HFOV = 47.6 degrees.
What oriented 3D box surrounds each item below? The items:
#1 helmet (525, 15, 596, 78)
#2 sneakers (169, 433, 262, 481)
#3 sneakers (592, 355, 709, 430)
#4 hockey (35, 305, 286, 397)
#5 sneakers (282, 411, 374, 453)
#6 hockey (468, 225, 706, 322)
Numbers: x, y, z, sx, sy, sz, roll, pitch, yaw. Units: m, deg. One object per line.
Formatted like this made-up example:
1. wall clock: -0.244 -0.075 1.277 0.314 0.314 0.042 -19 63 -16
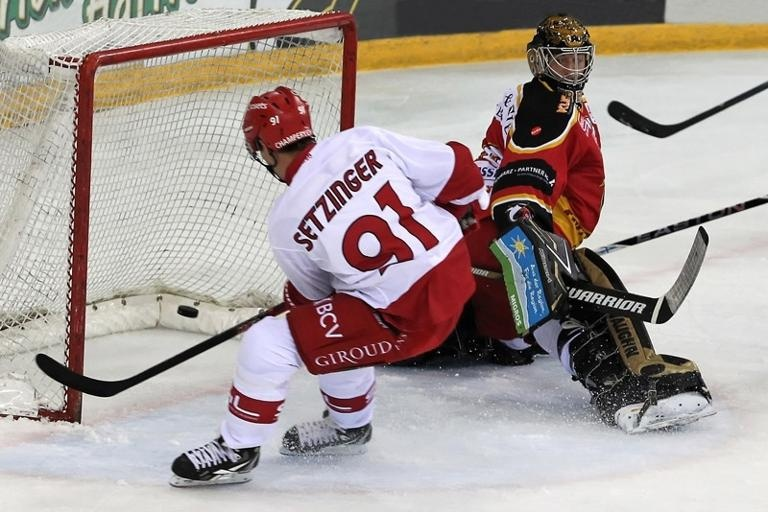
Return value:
1. helmet: 0.651 -0.813 3.373 0.254 0.218 0.288 -9 25 -13
2. sneakers: -0.537 0.639 2.859 0.383 0.177 0.107 1 37 -9
3. sneakers: 0.950 0.467 3.086 0.376 0.220 0.136 -11 32 -7
4. hockey: -0.857 0.364 3.252 0.982 0.191 0.052 -23 20 -35
5. sneakers: -0.198 0.617 3.008 0.305 0.103 0.104 -3 -8 -6
6. hockey: 0.741 0.080 3.088 0.624 0.246 0.430 -3 2 3
